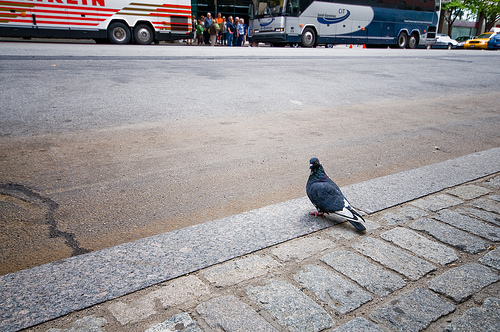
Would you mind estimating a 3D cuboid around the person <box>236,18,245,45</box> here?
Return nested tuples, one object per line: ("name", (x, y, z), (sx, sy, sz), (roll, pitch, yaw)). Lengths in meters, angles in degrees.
("person", (-0.855, -11.498, 29.032), (0.517, 2.161, 1.363), (4, 20, 13))

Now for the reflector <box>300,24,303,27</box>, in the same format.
("reflector", (3.784, -10.524, 25.326), (0.226, 0.191, 0.206), (0, 6, -2))

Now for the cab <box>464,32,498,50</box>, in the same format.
("cab", (27.818, -15.046, 41.009), (1.710, 1.844, 3.806), (0, 18, 1))

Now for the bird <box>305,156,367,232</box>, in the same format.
("bird", (0.914, 0.320, 3.669), (0.343, 0.674, 0.833), (-13, 23, -31))

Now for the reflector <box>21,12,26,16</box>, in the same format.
("reflector", (-12.152, -8.137, 18.129), (0.186, 0.041, 0.185), (-2, 5, -20))

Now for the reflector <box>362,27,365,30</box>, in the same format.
("reflector", (9.362, -11.345, 27.956), (0.307, 0.195, 0.045), (-14, 24, -35))

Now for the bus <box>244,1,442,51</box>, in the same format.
("bus", (9.064, -12.071, 28.341), (17.278, 4.001, 2.441), (-8, 21, -23))
